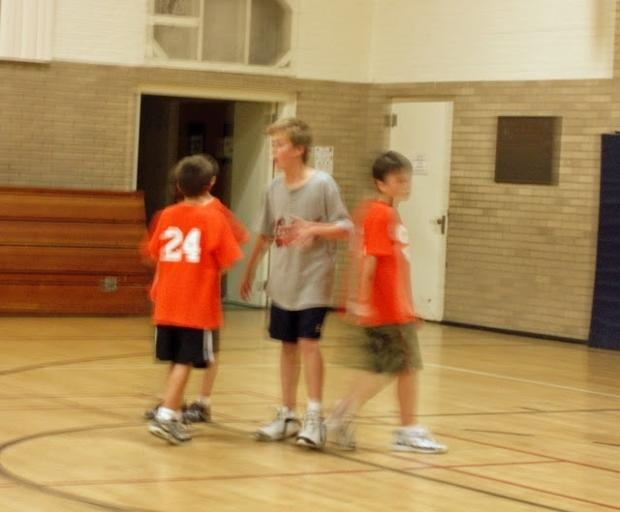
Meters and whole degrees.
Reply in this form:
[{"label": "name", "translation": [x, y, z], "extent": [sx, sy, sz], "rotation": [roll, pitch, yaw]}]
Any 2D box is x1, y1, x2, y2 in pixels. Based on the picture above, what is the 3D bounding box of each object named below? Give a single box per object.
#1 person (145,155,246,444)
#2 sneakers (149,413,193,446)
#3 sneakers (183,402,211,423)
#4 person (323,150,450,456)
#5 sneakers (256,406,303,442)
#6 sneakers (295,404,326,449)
[{"label": "person", "translation": [-0.682, 0.232, 3.777], "extent": [0.522, 1.655, 0.509], "rotation": [3, 2, -14]}, {"label": "sneakers", "translation": [-0.772, 0.969, 3.677], "extent": [0.308, 0.132, 0.112], "rotation": [30, -8, -37]}, {"label": "sneakers", "translation": [-0.709, 0.985, 4.108], "extent": [0.192, 0.115, 0.094], "rotation": [13, -12, -7]}, {"label": "person", "translation": [0.452, 0.259, 3.695], "extent": [0.629, 1.107, 0.338], "rotation": [4, 2, 1]}, {"label": "sneakers", "translation": [-0.172, 0.996, 3.895], "extent": [0.121, 0.153, 0.346], "rotation": [3, -2, 45]}, {"label": "sneakers", "translation": [0.009, 0.950, 3.655], "extent": [0.158, 0.249, 0.128], "rotation": [3, 2, -4]}]
